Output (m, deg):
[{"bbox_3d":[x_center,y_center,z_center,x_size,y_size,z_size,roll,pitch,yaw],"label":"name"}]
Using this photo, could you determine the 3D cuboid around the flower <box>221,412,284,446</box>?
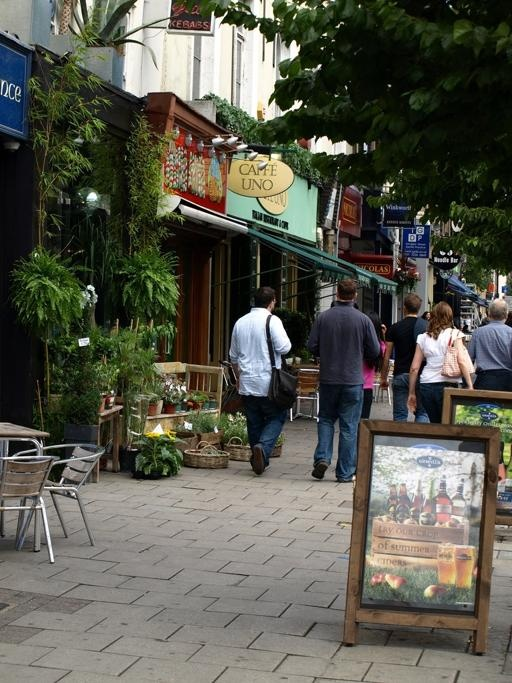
[{"bbox_3d":[-0.045,1.103,8.409,0.540,0.348,0.659,3,-7,-1],"label":"flower"}]

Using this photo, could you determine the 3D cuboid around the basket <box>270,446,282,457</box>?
[{"bbox_3d":[0.284,1.522,9.290,0.169,0.143,0.183,-1,-1,-4],"label":"basket"}]

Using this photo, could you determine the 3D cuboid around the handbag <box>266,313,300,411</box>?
[{"bbox_3d":[0.279,0.251,7.800,0.359,1.085,0.325,1,1,-8],"label":"handbag"}]

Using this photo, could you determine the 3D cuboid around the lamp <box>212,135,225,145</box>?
[{"bbox_3d":[-0.655,-3.405,11.459,0.188,0.102,0.241,-1,-8,-6],"label":"lamp"}]

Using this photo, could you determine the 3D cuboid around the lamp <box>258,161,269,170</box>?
[{"bbox_3d":[0.151,-3.353,12.923,0.209,0.100,0.189,-15,11,-5],"label":"lamp"}]

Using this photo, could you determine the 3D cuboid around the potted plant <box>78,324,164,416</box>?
[{"bbox_3d":[-1.821,0.324,8.050,1.037,1.151,0.861,0,-5,21],"label":"potted plant"}]

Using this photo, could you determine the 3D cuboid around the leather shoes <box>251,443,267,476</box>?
[{"bbox_3d":[0.030,1.344,7.694,0.136,0.385,0.159,-6,2,19],"label":"leather shoes"}]

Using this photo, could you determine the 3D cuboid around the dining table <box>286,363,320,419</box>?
[{"bbox_3d":[1.022,1.019,12.749,0.484,0.847,0.589,8,-4,37],"label":"dining table"}]

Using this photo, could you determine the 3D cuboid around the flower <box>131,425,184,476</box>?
[{"bbox_3d":[-1.093,1.230,7.537,0.477,0.448,0.489,1,-4,5],"label":"flower"}]

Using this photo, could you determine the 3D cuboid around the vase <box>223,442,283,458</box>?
[{"bbox_3d":[-0.072,1.443,8.895,0.509,0.203,0.319,-3,4,-39],"label":"vase"}]

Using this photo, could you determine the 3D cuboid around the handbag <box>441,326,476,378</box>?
[{"bbox_3d":[2.255,0.161,7.512,0.215,0.456,0.436,11,11,36],"label":"handbag"}]

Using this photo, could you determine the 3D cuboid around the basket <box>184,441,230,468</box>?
[{"bbox_3d":[-0.596,1.399,8.248,0.393,0.217,0.291,4,3,19],"label":"basket"}]

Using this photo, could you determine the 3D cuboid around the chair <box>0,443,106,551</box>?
[{"bbox_3d":[-1.444,1.125,4.948,0.582,0.682,0.606,6,-11,-30],"label":"chair"}]

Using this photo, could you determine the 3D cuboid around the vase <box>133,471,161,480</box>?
[{"bbox_3d":[-1.197,1.451,7.369,0.321,0.107,0.146,1,1,-11],"label":"vase"}]

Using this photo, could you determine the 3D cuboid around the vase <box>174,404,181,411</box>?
[{"bbox_3d":[-1.067,0.907,9.229,0.089,0.103,0.087,0,0,-28],"label":"vase"}]

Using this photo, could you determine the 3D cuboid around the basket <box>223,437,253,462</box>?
[{"bbox_3d":[-0.210,1.419,8.851,0.369,0.334,0.243,0,1,15],"label":"basket"}]

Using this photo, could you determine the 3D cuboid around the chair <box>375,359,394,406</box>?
[{"bbox_3d":[3.607,0.917,18.457,0.538,0.977,0.615,3,16,16],"label":"chair"}]

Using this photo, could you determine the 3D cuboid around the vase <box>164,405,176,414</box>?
[{"bbox_3d":[-1.161,0.911,9.014,0.126,0.095,0.127,1,-4,-5],"label":"vase"}]

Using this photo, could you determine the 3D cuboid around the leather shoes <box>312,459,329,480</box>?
[{"bbox_3d":[0.719,1.464,7.509,0.111,0.291,0.129,12,37,6],"label":"leather shoes"}]

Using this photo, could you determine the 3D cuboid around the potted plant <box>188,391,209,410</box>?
[{"bbox_3d":[-0.850,0.859,9.698,0.222,0.163,0.226,1,-6,-2],"label":"potted plant"}]

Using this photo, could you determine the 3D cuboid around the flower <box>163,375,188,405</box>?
[{"bbox_3d":[-1.121,0.684,9.260,0.333,0.343,0.325,2,4,-22],"label":"flower"}]
